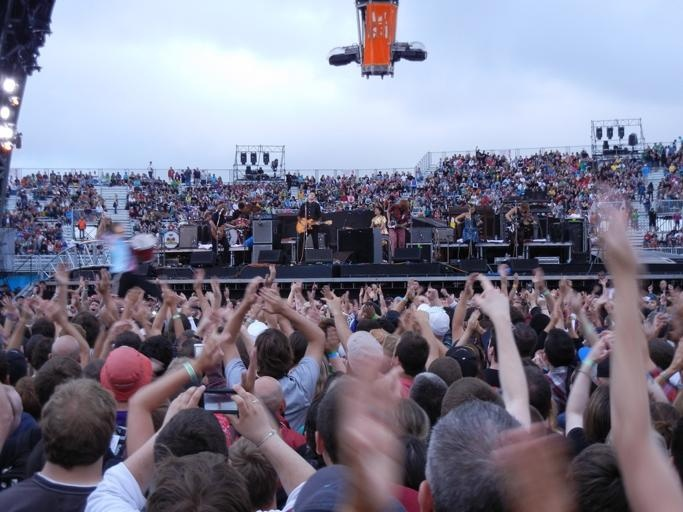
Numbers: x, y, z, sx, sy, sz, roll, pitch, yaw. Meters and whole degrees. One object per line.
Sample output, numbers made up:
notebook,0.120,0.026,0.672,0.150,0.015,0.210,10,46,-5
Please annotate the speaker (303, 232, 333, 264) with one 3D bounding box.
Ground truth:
speaker,-0.481,-0.239,17.230,0.625,0.726,0.587,-1,-6,2

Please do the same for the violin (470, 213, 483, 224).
violin,3.242,-0.903,18.506,0.198,0.125,0.306,5,-10,-8

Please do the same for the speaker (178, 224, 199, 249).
speaker,-3.759,-0.512,19.638,0.464,0.805,0.512,-1,6,-5

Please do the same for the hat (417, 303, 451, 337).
hat,0.831,0.540,6.941,0.232,0.198,0.354,-4,18,-28

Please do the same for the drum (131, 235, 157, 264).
drum,-2.084,-0.077,8.259,0.242,0.236,0.261,2,-5,-32

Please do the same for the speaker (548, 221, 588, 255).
speaker,5.253,-0.551,18.101,0.807,0.980,0.683,0,-7,8

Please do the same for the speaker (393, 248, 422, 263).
speaker,1.500,-0.041,17.118,0.360,0.256,0.390,-1,-1,32

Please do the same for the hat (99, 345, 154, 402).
hat,-1.264,0.675,4.614,0.236,0.361,0.186,3,-33,-1

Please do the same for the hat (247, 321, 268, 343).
hat,-0.632,0.564,5.934,0.111,0.125,0.088,29,14,15

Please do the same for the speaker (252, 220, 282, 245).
speaker,-1.689,-0.570,17.983,0.609,0.705,0.486,0,-2,-13
